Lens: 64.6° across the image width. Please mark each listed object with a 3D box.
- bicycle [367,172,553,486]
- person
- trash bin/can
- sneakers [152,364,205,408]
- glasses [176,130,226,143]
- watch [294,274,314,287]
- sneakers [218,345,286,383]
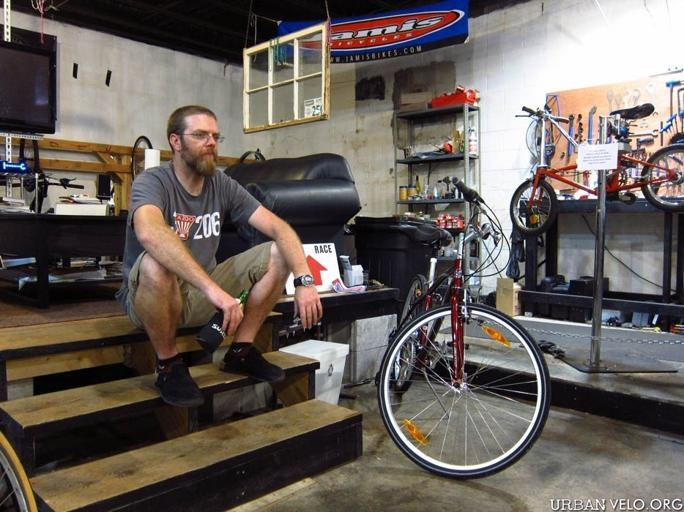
[{"bbox_3d":[0.782,0.300,3.402,0.986,1.562,1.798,4,13,15],"label":"bicycle"},{"bbox_3d":[-0.665,-0.039,2.772,0.861,1.431,0.677,-7,15,-31],"label":"person"},{"bbox_3d":[-0.128,0.702,3.520,0.379,0.515,0.436,0,-1,-42],"label":"trash bin/can"},{"bbox_3d":[-0.783,0.652,2.586,0.232,0.239,0.175,-1,13,-5],"label":"sneakers"},{"bbox_3d":[-0.732,-0.626,2.840,0.227,0.048,0.122,-9,16,-36],"label":"glasses"},{"bbox_3d":[-0.195,0.134,2.765,0.090,0.057,0.092,3,-22,-30],"label":"watch"},{"bbox_3d":[-0.475,0.558,2.911,0.326,0.172,0.154,8,6,7],"label":"sneakers"}]
